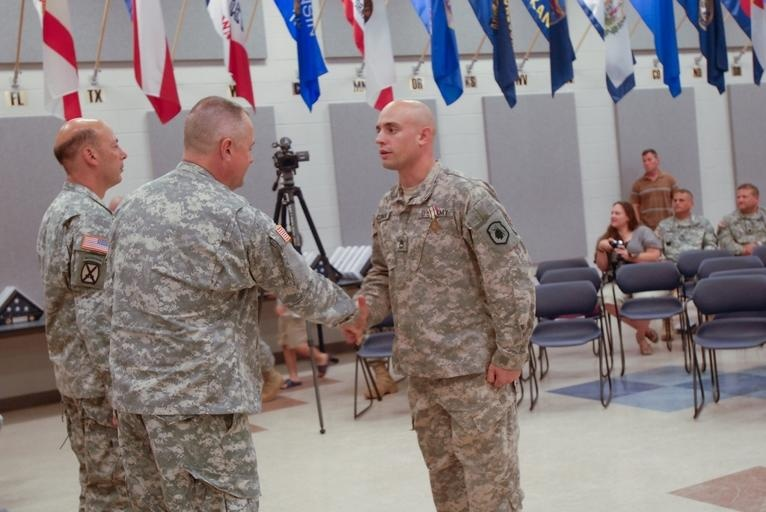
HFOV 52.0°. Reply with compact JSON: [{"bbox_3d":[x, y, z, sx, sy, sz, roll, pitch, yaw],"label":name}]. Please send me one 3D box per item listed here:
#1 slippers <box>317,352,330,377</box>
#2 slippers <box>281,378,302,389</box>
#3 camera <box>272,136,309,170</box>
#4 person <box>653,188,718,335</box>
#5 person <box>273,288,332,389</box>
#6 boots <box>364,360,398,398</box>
[{"bbox_3d":[-0.699,1.238,9.026,0.086,0.311,0.126,5,2,-28],"label":"slippers"},{"bbox_3d":[-0.999,1.401,8.618,0.211,0.073,0.080,4,-6,-43],"label":"slippers"},{"bbox_3d":[-0.908,-0.968,7.582,0.321,0.307,0.237,-8,21,-4],"label":"camera"},{"bbox_3d":[3.849,0.182,10.025,0.916,2.040,0.721,-6,25,2],"label":"person"},{"bbox_3d":[-0.968,0.774,8.539,0.760,1.238,0.412,-4,9,-15],"label":"person"},{"bbox_3d":[-0.058,1.253,8.077,0.434,0.406,0.195,-1,-15,-36],"label":"boots"}]
